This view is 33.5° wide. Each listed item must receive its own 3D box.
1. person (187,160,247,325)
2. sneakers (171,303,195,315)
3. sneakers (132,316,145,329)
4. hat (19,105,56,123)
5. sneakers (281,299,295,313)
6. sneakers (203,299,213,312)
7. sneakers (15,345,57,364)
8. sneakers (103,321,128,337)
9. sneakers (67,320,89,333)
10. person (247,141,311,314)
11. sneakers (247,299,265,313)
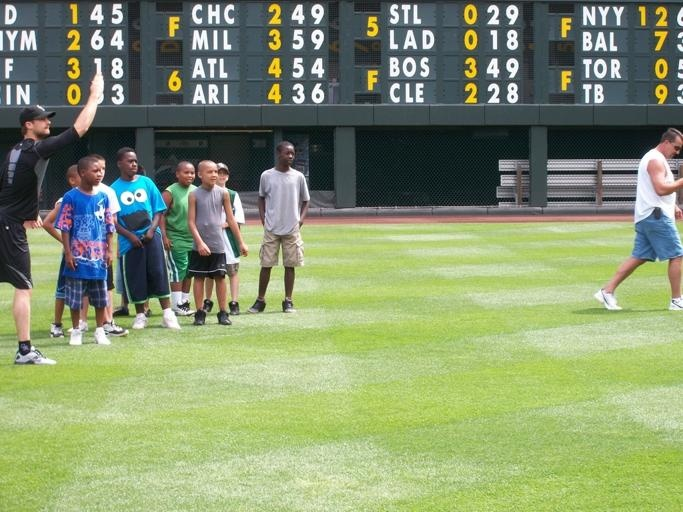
[{"bbox_3d":[-1.672,-0.187,15.056,0.695,2.130,0.839,5,12,26],"label":"person"},{"bbox_3d":[-2.232,0.766,15.927,0.333,0.128,0.114,1,7,-29],"label":"sneakers"},{"bbox_3d":[-2.639,0.844,14.765,0.174,0.171,0.236,-2,10,-8],"label":"sneakers"},{"bbox_3d":[-3.437,-1.594,12.723,0.461,0.190,0.266,-9,13,-7],"label":"hat"},{"bbox_3d":[-0.732,0.670,15.877,0.157,0.170,0.341,-1,10,-2],"label":"sneakers"},{"bbox_3d":[-1.871,0.691,15.988,0.142,0.163,0.182,5,11,1],"label":"sneakers"},{"bbox_3d":[-3.472,1.116,12.872,0.562,0.201,0.176,4,4,-12],"label":"sneakers"},{"bbox_3d":[-2.802,0.914,14.287,0.358,0.137,0.127,4,7,-6],"label":"sneakers"},{"bbox_3d":[-3.317,0.902,14.471,0.151,0.159,0.410,0,-3,15],"label":"sneakers"},{"bbox_3d":[-0.875,-0.434,16.086,0.804,2.362,1.171,-1,11,-2],"label":"person"},{"bbox_3d":[-1.176,0.701,15.852,0.120,0.125,0.322,2,-5,23],"label":"sneakers"}]
